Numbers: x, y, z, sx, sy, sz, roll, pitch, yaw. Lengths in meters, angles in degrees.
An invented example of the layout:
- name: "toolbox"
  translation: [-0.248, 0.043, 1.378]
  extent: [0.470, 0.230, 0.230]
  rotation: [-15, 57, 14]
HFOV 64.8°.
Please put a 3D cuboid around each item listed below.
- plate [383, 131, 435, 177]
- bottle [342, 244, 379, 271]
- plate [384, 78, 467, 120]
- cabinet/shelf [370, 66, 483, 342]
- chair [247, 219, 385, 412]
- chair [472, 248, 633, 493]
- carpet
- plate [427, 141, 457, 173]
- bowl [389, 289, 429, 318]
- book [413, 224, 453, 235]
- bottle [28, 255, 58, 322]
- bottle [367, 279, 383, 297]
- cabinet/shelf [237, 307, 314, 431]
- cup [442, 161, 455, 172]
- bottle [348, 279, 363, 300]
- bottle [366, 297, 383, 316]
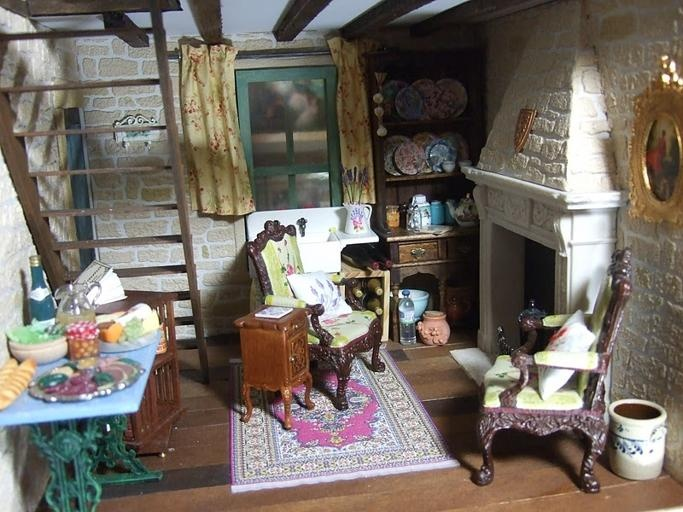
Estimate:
- name: "plate"
  translation: [0.629, -0.941, 5.131]
  extent: [0.427, 0.413, 0.096]
  rotation: [9, 1, -6]
- name: "bottle"
  translation: [0.194, 0.023, 5.118]
  extent: [0.108, 0.108, 0.407]
  rotation: [21, 8, -28]
- name: "plate"
  translation: [0.798, -1.454, 4.966]
  extent: [0.705, 0.416, 0.032]
  rotation: [0, 1, -3]
- name: "cabinet/shelf"
  translation: [1.032, -0.137, 5.173]
  extent: [0.748, 1.670, 0.450]
  rotation: [-1, -26, 45]
- name: "chair"
  translation: [-0.145, 0.383, 4.342]
  extent: [0.954, 1.253, 0.909]
  rotation: [12, 20, 33]
- name: "chair"
  translation: [1.282, 0.654, 3.386]
  extent: [1.031, 1.261, 0.984]
  rotation: [-4, 12, -4]
- name: "carpet"
  translation: [-0.070, 1.177, 3.801]
  extent: [1.404, 0.162, 1.248]
  rotation: [-6, 11, -9]
- name: "plate"
  translation: [0.950, -0.947, 5.137]
  extent: [0.374, 0.357, 0.082]
  rotation: [-3, 9, -25]
- name: "bowl"
  translation: [0.676, 0.413, 5.116]
  extent: [0.306, 0.199, 0.300]
  rotation: [-2, 2, 0]
- name: "book"
  translation: [0.869, -0.233, 5.046]
  extent: [0.382, 0.059, 0.277]
  rotation: [-6, 11, -7]
- name: "bottle"
  translation: [-1.740, 0.195, 3.086]
  extent: [0.135, 0.385, 0.360]
  rotation: [-12, 14, -30]
- name: "bottle"
  translation: [0.323, 0.286, 4.999]
  extent: [0.099, 0.100, 0.233]
  rotation: [-17, 11, 1]
- name: "cabinet/shelf"
  translation: [-0.434, 0.793, 3.834]
  extent: [0.471, 0.685, 0.445]
  rotation: [-1, 4, 18]
- name: "cup"
  translation: [1.028, -0.838, 5.101]
  extent: [0.103, 0.074, 0.103]
  rotation: [-1, -1, 0]
- name: "bottle"
  translation: [0.121, 0.290, 4.679]
  extent: [0.099, 0.181, 0.191]
  rotation: [-1, 5, 7]
- name: "bottle"
  translation: [0.311, 0.459, 5.015]
  extent: [0.116, 0.115, 0.153]
  rotation: [-26, 31, 0]
